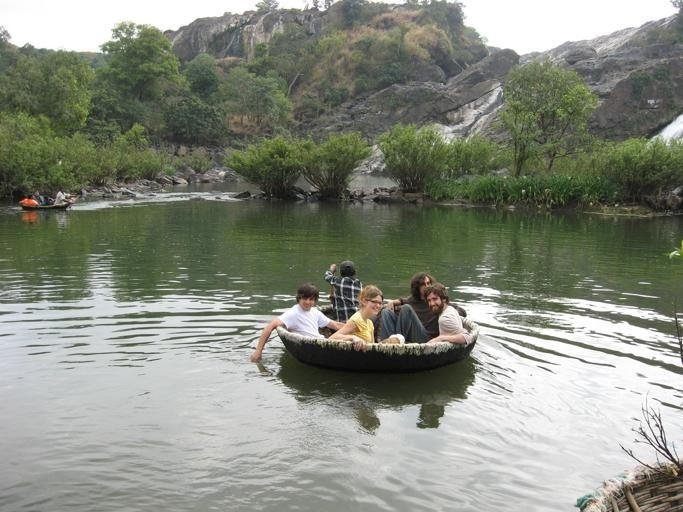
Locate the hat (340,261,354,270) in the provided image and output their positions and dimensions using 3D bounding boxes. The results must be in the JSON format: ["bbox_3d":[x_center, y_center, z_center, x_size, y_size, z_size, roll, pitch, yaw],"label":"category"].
[{"bbox_3d":[0.093,0.184,11.749,0.225,0.109,0.340,2,1,-2],"label":"hat"}]

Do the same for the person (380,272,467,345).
[{"bbox_3d":[1.497,1.008,11.358,0.972,0.751,1.291,-8,24,34],"label":"person"}]

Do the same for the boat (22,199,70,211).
[{"bbox_3d":[-15.409,-2.585,31.690,1.567,0.388,1.097,0,8,-29],"label":"boat"}]

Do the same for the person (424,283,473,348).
[{"bbox_3d":[1.745,1.077,10.636,0.716,1.086,1.083,3,-3,-24],"label":"person"}]
